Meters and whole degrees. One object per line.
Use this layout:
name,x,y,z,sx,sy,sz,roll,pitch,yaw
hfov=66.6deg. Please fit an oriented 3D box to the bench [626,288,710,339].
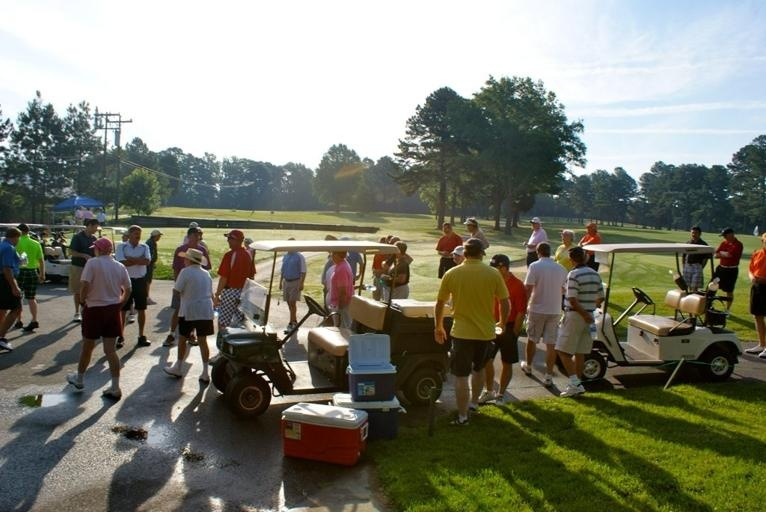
bench,5.791,1.192,11.708,0.970,0.680,0.993,-2,3,-13

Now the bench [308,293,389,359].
bench,-0.683,1.457,10.651,1.065,1.271,1.840,0,2,-18

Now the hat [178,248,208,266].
hat,-3.652,0.038,11.242,0.294,0.414,0.552,-1,14,-8

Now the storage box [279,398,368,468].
storage box,-0.900,2.659,8.891,1.185,0.746,0.708,2,5,13

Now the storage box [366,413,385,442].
storage box,-0.125,2.677,9.165,0.237,0.455,0.104,0,13,-2

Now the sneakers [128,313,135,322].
sneakers,-6.414,1.579,14.755,0.154,0.180,0.448,-2,1,-28

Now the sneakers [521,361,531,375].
sneakers,2.944,2.305,11.932,0.108,0.139,0.314,1,6,2

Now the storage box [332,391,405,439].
storage box,-0.180,2.667,9.641,0.738,0.623,1.035,2,-6,-21

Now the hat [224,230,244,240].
hat,-3.142,-0.427,11.977,0.420,0.243,0.310,5,4,26

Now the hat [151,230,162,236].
hat,-6.008,-0.596,15.352,0.228,0.129,0.175,-9,9,-35

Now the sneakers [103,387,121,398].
sneakers,-4.770,2.419,10.216,0.322,0.150,0.146,5,6,19

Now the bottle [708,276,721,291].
bottle,6.472,0.568,11.365,0.175,0.272,0.549,7,15,25

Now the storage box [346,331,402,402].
storage box,-0.200,1.826,9.550,0.863,1.081,0.622,0,-5,-10

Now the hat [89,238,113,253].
hat,-5.159,-0.206,10.681,0.257,0.250,0.419,-5,15,-22
